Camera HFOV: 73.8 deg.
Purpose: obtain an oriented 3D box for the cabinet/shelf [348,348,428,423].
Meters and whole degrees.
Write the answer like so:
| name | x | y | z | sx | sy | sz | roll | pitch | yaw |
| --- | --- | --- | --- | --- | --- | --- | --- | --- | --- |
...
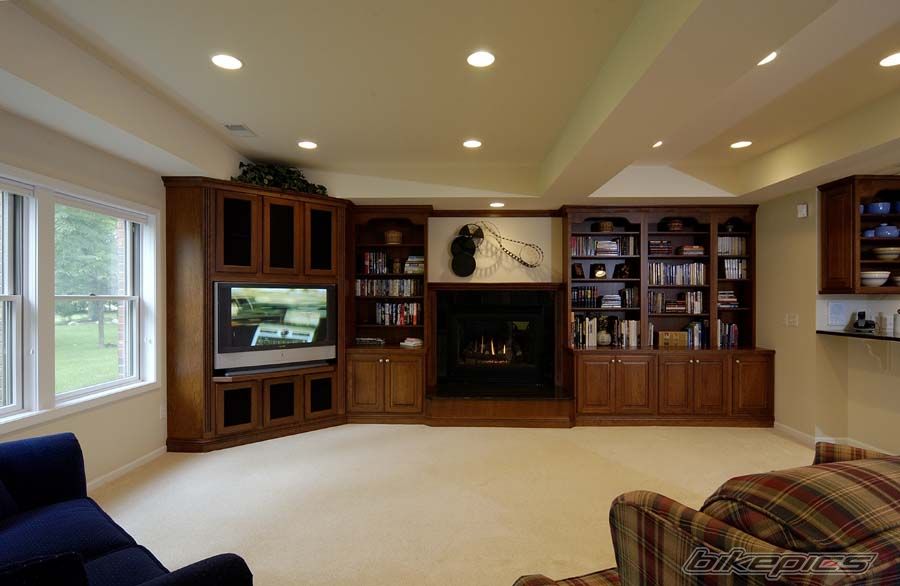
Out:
| name | x | y | z | sx | sy | sz | roll | pitch | yaw |
| --- | --- | --- | --- | --- | --- | --- | --- | --- | --- |
| cabinet/shelf | -0.733 | 1.113 | 7.229 | 0.933 | 0.864 | 0.470 | 0 | 0 | 6 |

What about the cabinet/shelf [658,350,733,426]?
| name | x | y | z | sx | sy | sz | roll | pitch | yaw |
| --- | --- | --- | --- | --- | --- | --- | --- | --- | --- |
| cabinet/shelf | 2.866 | 1.136 | 6.953 | 0.871 | 0.784 | 0.360 | 0 | -4 | 4 |

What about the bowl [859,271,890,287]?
| name | x | y | z | sx | sy | sz | roll | pitch | yaw |
| --- | --- | --- | --- | --- | --- | --- | --- | --- | --- |
| bowl | 4.227 | -0.143 | 5.989 | 0.197 | 0.104 | 0.195 | 1 | -6 | 0 |

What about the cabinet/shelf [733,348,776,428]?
| name | x | y | z | sx | sy | sz | roll | pitch | yaw |
| --- | --- | --- | --- | --- | --- | --- | --- | --- | --- |
| cabinet/shelf | 3.527 | 1.099 | 7.135 | 0.513 | 0.882 | 0.567 | 0 | 3 | 21 |

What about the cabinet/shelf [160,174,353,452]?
| name | x | y | z | sx | sy | sz | roll | pitch | yaw |
| --- | --- | --- | --- | --- | --- | --- | --- | --- | --- |
| cabinet/shelf | -2.086 | 0.192 | 6.360 | 1.938 | 2.767 | 0.815 | -7 | 17 | -26 |

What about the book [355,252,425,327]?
| name | x | y | z | sx | sy | sz | roll | pitch | yaw |
| --- | --- | --- | --- | --- | --- | --- | --- | --- | --- |
| book | -0.750 | -0.032 | 7.401 | 0.942 | 0.838 | 0.277 | 0 | -6 | 0 |

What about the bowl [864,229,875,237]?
| name | x | y | z | sx | sy | sz | roll | pitch | yaw |
| --- | --- | --- | --- | --- | --- | --- | --- | --- | --- |
| bowl | 4.230 | -0.598 | 6.058 | 0.087 | 0.060 | 0.086 | 1 | -2 | 0 |

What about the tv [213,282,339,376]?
| name | x | y | z | sx | sy | sz | roll | pitch | yaw |
| --- | --- | --- | --- | --- | --- | --- | --- | --- | --- |
| tv | -1.931 | 0.389 | 6.466 | 1.101 | 0.737 | 0.110 | 1 | -3 | -32 |

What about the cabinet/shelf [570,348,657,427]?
| name | x | y | z | sx | sy | sz | roll | pitch | yaw |
| --- | --- | --- | --- | --- | --- | --- | --- | --- | --- |
| cabinet/shelf | 1.930 | 1.089 | 7.145 | 0.963 | 0.796 | 0.351 | 0 | -1 | -2 |
